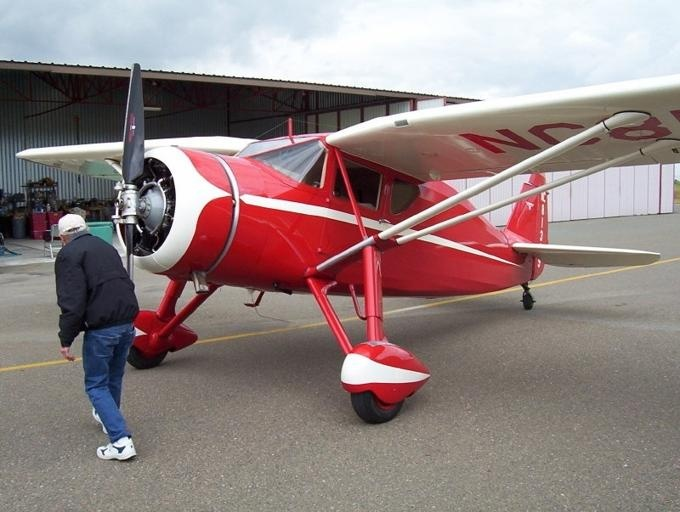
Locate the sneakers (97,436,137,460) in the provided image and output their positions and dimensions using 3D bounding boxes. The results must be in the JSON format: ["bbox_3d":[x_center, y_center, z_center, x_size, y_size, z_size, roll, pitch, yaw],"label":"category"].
[{"bbox_3d":[-1.654,1.386,3.881,0.388,0.130,0.125,0,-2,14],"label":"sneakers"}]

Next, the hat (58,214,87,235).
[{"bbox_3d":[-2.003,-0.230,3.995,0.170,0.092,0.207,-8,7,-38],"label":"hat"}]

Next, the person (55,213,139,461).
[{"bbox_3d":[-1.737,0.573,3.901,0.550,1.765,0.638,-8,11,-22],"label":"person"}]
